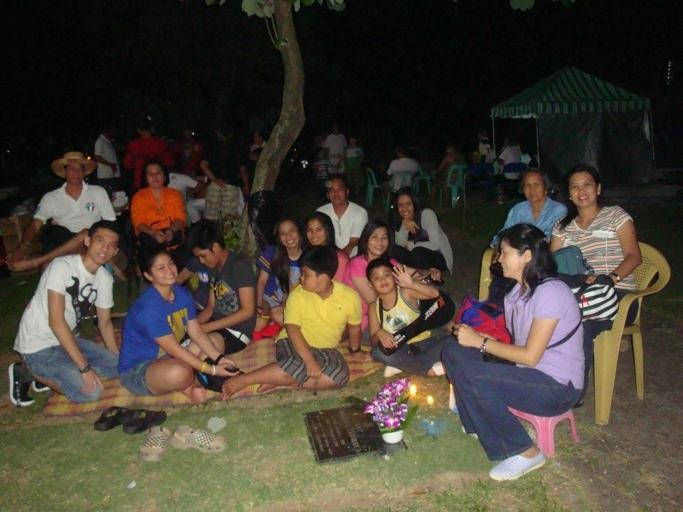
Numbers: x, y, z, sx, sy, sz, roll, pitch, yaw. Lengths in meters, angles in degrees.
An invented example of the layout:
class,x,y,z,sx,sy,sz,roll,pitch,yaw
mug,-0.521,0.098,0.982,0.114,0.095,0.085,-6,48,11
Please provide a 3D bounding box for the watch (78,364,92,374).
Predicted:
class,x,y,z,sx,sy,sz,roll,pitch,yaw
watch,-2.313,1.024,4.710,0.070,0.041,0.076,-12,2,-38

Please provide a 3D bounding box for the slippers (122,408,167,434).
class,x,y,z,sx,sy,sz,roll,pitch,yaw
slippers,-1.722,1.445,4.551,0.160,0.109,0.301,10,17,26

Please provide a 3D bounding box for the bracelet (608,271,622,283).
class,x,y,z,sx,sy,sz,roll,pitch,yaw
bracelet,2.485,0.188,4.761,0.045,0.115,0.113,-36,22,-31

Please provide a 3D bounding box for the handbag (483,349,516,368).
class,x,y,z,sx,sy,sz,roll,pitch,yaw
handbag,1.224,0.791,4.035,0.204,0.112,0.054,25,-9,1

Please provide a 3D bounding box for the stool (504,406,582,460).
class,x,y,z,sx,sy,sz,roll,pitch,yaw
stool,1.676,1.379,4.285,0.436,0.348,0.437,-14,16,-21

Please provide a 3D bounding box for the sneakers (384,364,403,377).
class,x,y,z,sx,sy,sz,roll,pitch,yaw
sneakers,0.522,1.161,5.286,0.178,0.099,0.061,-9,8,-5

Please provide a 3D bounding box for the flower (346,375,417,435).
class,x,y,z,sx,sy,sz,roll,pitch,yaw
flower,0.467,1.303,4.544,0.302,0.155,0.410,28,46,31

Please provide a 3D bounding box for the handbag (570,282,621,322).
class,x,y,z,sx,sy,sz,roll,pitch,yaw
handbag,2.153,0.380,4.413,0.348,0.335,0.129,-10,4,-5

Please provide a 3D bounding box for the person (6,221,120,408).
class,x,y,z,sx,sy,sz,roll,pitch,yaw
person,-2.562,0.485,4.901,0.881,1.629,0.643,3,14,5

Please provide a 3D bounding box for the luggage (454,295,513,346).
class,x,y,z,sx,sy,sz,roll,pitch,yaw
luggage,1.185,0.538,4.348,0.344,0.136,0.367,11,47,11

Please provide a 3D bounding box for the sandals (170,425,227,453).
class,x,y,z,sx,sy,sz,roll,pitch,yaw
sandals,-1.197,1.531,4.365,0.394,0.153,0.201,2,22,-2

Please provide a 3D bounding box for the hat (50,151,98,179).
class,x,y,z,sx,sy,sz,roll,pitch,yaw
hat,-3.406,-1.164,6.661,0.479,0.369,0.768,-5,16,-26

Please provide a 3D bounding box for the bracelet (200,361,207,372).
class,x,y,z,sx,sy,sz,roll,pitch,yaw
bracelet,-1.283,1.033,4.846,0.017,0.073,0.070,-1,-15,-40

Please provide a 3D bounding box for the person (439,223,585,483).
class,x,y,z,sx,sy,sz,roll,pitch,yaw
person,1.395,0.715,4.089,1.040,1.907,0.651,-2,15,-15

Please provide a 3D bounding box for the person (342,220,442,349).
class,x,y,z,sx,sy,sz,roll,pitch,yaw
person,0.392,0.284,5.560,1.125,1.257,0.886,8,13,42

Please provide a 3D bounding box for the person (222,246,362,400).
class,x,y,z,sx,sy,sz,roll,pitch,yaw
person,-0.322,0.600,4.947,0.908,1.231,1.712,18,25,40

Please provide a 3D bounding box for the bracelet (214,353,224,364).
class,x,y,z,sx,sy,sz,roll,pitch,yaw
bracelet,-1.177,0.986,4.982,0.081,0.025,0.081,-44,20,-5

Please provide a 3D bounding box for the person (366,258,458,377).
class,x,y,z,sx,sy,sz,roll,pitch,yaw
person,0.593,0.538,5.047,0.872,1.064,0.846,-12,12,27

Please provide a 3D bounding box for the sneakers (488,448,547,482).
class,x,y,z,sx,sy,sz,roll,pitch,yaw
sneakers,1.331,1.609,4.055,0.463,0.178,0.176,-13,29,-3

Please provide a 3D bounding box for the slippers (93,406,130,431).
class,x,y,z,sx,sy,sz,roll,pitch,yaw
slippers,-2.025,1.432,4.589,0.144,0.101,0.272,4,19,7

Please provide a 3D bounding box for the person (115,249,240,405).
class,x,y,z,sx,sy,sz,roll,pitch,yaw
person,-1.685,0.568,5.372,1.364,1.533,1.069,8,20,10
